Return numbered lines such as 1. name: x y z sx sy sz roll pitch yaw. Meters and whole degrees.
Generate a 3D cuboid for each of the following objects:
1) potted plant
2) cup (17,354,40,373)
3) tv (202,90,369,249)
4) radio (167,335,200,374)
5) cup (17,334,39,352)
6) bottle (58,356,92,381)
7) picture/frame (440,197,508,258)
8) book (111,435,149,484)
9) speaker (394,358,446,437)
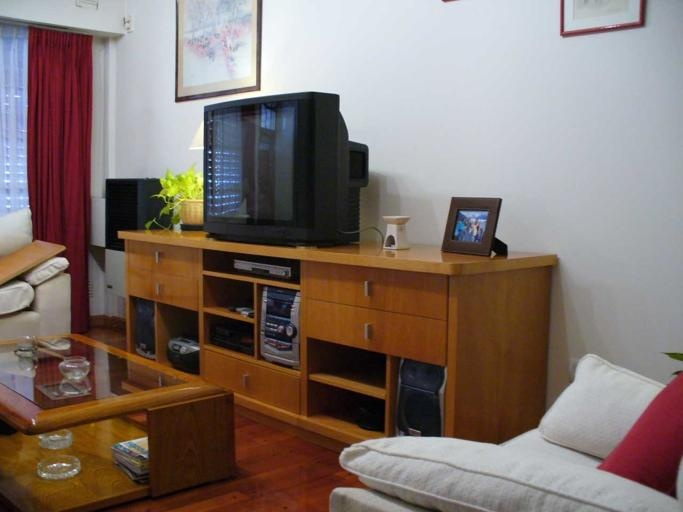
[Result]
1. potted plant: -1.204 -0.433 4.102 0.441 0.479 0.605 0 -3 7
2. cup: -1.408 0.480 2.482 0.092 0.070 0.072 3 0 22
3. tv: -0.302 -0.472 3.200 0.849 0.788 0.632 6 8 38
4. radio: -0.981 0.609 3.466 0.261 0.183 0.130 11 4 25
5. cup: -1.476 0.401 2.605 0.082 0.081 0.085 1 -4 0
6. bottle: -1.103 0.458 2.296 0.100 0.080 0.100 5 -2 0
7. picture/frame: 0.587 -0.137 2.498 0.236 0.252 0.149 4 2 35
8. book: -0.857 0.834 2.294 0.170 0.048 0.174 7 4 39
9. speaker: 0.360 0.596 2.396 0.249 0.393 0.237 3 15 6
